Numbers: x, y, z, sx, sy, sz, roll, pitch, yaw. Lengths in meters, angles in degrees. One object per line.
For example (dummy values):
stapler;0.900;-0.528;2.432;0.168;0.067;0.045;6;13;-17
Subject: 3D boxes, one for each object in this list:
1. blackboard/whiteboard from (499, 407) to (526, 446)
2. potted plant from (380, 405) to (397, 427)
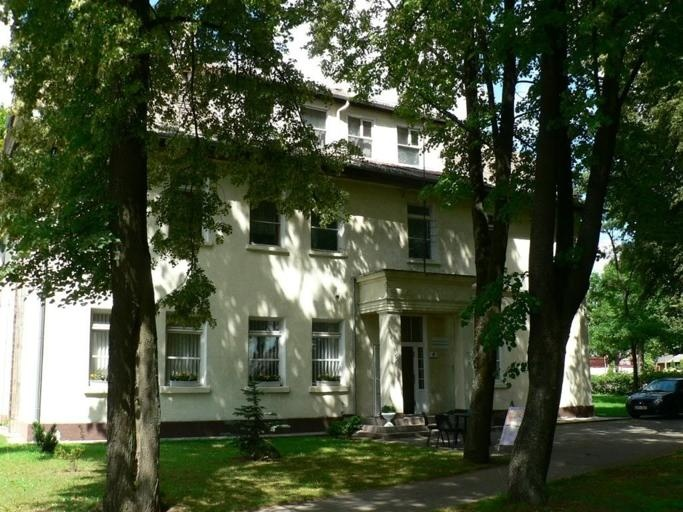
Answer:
blackboard/whiteboard;4.451;4.470;19.346;0.602;0.986;0.983;-5;-10;13
potted plant;1.563;5.212;23.896;0.495;0.814;0.571;4;-10;-10
